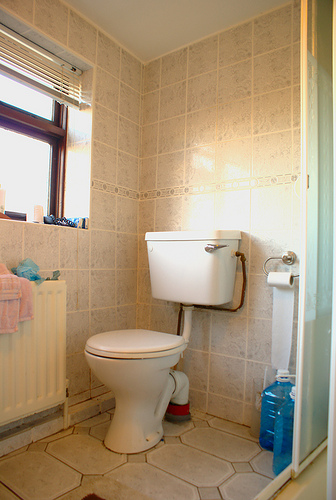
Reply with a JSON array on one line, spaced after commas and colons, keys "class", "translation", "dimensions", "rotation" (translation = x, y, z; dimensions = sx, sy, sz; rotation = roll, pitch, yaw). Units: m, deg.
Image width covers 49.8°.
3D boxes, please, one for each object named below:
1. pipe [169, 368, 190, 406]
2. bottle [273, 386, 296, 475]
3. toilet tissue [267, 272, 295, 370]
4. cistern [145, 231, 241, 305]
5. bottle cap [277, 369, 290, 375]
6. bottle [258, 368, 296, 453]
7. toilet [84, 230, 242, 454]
[{"class": "pipe", "translation": [0.068, 0.658, 1.731], "dimensions": [0.090, 0.152, 0.140], "rotation": [-2, -5, 26]}, {"class": "bottle", "translation": [0.418, 0.659, 1.301], "dimensions": [0.063, 0.241, 0.108], "rotation": [2, -1, 20]}, {"class": "toilet tissue", "translation": [0.468, 0.286, 1.482], "dimensions": [0.085, 0.399, 0.055], "rotation": [1, -2, 40]}, {"class": "cistern", "translation": [0.121, 0.067, 1.767], "dimensions": [0.434, 0.352, 0.295], "rotation": [0, 8, 22]}, {"class": "bottle cap", "translation": [0.448, 0.473, 1.403], "dimensions": [0.028, 0.012, 0.030], "rotation": [2, 3, 25]}, {"class": "bottle", "translation": [0.428, 0.630, 1.417], "dimensions": [0.111, 0.332, 0.200], "rotation": [2, -1, 0]}, {"class": "toilet", "translation": [-0.049, 0.348, 1.583], "dimensions": [0.461, 0.868, 0.748], "rotation": [5, 2, 36]}]
